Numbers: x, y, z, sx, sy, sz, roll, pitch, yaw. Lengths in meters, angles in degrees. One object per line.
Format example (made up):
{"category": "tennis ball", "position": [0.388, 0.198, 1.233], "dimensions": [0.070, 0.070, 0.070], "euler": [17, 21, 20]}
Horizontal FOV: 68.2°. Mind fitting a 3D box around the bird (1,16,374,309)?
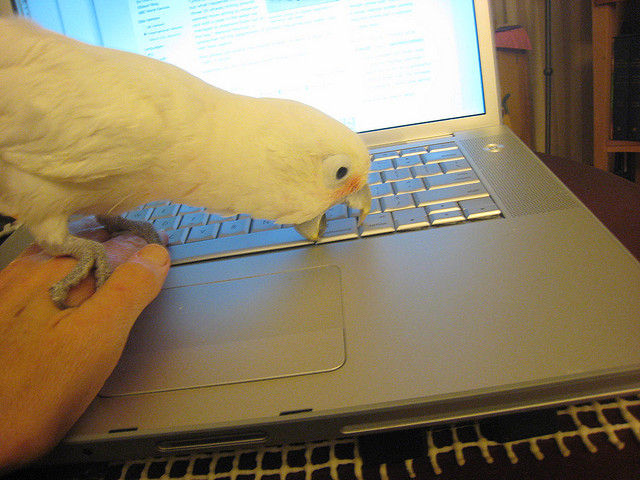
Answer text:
{"category": "bird", "position": [-0.066, -0.052, 0.447], "dimensions": [0.381, 0.149, 0.136], "euler": [25, -61, -17]}
